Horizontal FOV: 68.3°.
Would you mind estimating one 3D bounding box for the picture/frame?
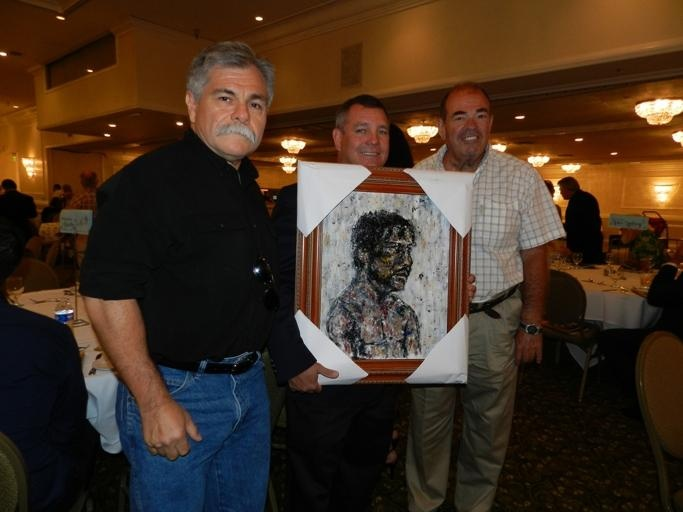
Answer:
[{"bbox_3d":[0.170,0.096,2.224,0.922,1.178,0.118,0,3,-6],"label":"picture/frame"}]

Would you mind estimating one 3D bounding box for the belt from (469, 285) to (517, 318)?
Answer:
[{"bbox_3d":[0.835,0.266,2.780,0.210,0.060,0.164,-35,1,40],"label":"belt"}]
